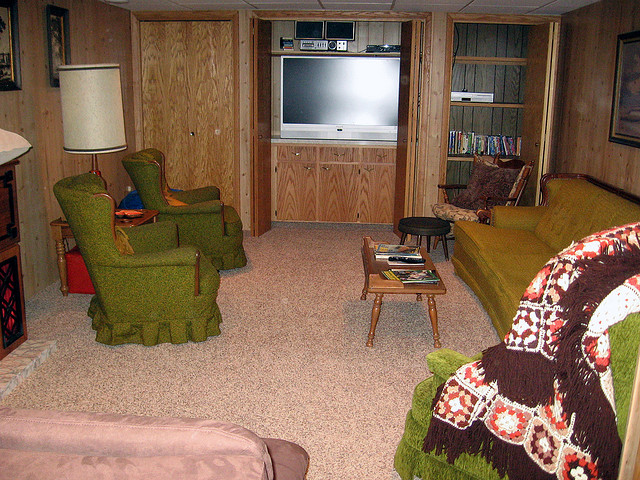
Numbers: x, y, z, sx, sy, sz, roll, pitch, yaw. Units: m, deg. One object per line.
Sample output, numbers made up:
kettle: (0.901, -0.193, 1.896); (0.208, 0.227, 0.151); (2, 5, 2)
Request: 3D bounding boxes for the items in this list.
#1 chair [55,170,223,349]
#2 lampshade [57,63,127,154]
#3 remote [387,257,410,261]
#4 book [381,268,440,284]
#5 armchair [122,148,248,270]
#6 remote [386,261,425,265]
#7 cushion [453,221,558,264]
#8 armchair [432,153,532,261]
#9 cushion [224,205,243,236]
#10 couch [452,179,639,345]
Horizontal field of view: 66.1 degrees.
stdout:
chair: (-1.377, 0.066, 3.870); (1.101, 1.271, 1.092); (3, 18, -8)
lampshade: (-1.879, -1.087, 4.077); (0.503, 0.691, 0.247); (-11, 22, -29)
remote: (0.644, 0.159, 4.030); (0.162, 0.012, 0.049); (2, 21, 5)
book: (0.690, 0.279, 3.729); (0.409, 0.028, 0.246); (-3, 22, -8)
armchair: (-1.377, -0.341, 5.275); (1.083, 1.235, 0.914); (-5, 13, -23)
remote: (0.696, 0.193, 3.977); (0.290, 0.014, 0.053); (1, 21, 4)
cushion: (1.638, 0.005, 4.514); (0.422, 0.146, 0.464); (1, 27, -5)
armchair: (1.797, -0.312, 5.830); (0.860, 1.435, 0.936); (-2, 14, -18)
cushion: (-0.915, -0.192, 5.141); (0.209, 0.109, 0.441); (-4, 29, -16)
couch: (1.877, 0.116, 4.271); (1.034, 1.098, 1.730); (0, 20, 2)
